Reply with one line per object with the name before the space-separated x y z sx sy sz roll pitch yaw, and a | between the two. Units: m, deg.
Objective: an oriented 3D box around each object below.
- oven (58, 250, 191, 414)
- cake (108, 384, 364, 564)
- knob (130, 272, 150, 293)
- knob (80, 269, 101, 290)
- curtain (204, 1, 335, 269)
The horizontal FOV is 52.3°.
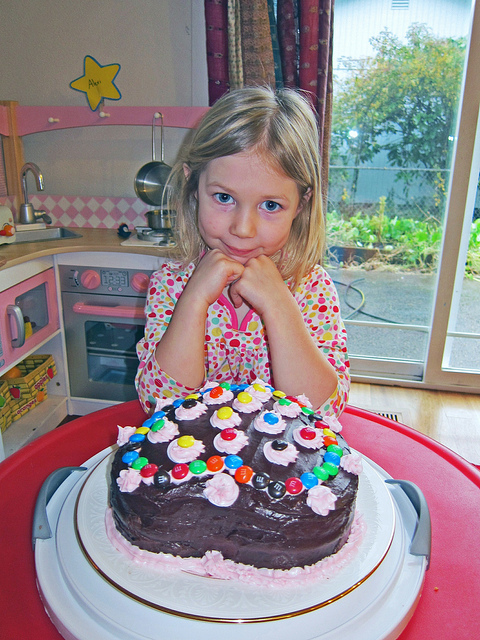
oven | -0.493 0.064 2.264 0.512 0.604 0.434 2 6 11
cake | 0.044 0.171 0.680 0.230 0.078 0.240 26 27 22
knob | -0.416 -0.156 2.023 0.081 0.084 0.031 2 11 -5
knob | -0.627 -0.170 2.050 0.078 0.086 0.038 -1 12 -17
curtain | 0.123 -0.955 2.178 0.595 0.936 0.316 5 11 9
